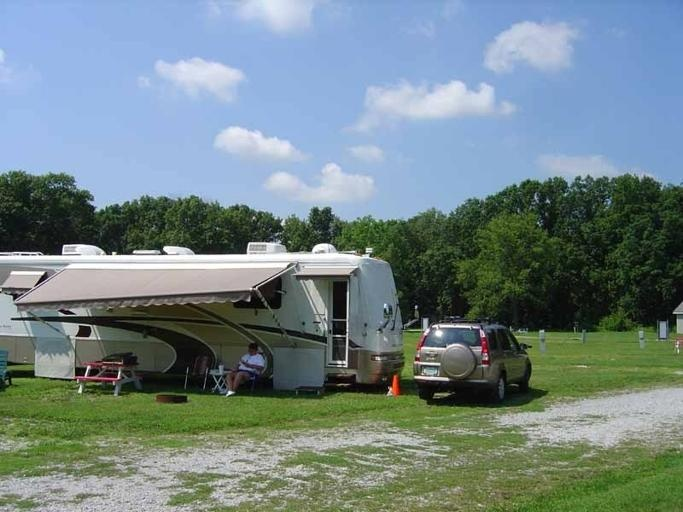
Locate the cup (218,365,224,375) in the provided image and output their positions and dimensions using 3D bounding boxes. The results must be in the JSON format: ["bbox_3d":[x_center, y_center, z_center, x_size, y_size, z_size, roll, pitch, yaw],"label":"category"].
[{"bbox_3d":[-3.135,2.963,22.390,0.109,0.243,0.368,0,-7,-10],"label":"cup"}]

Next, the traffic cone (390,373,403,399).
[{"bbox_3d":[1.397,3.365,22.335,0.427,0.516,0.382,-5,-6,42],"label":"traffic cone"}]

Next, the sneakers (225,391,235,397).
[{"bbox_3d":[-2.833,3.524,21.951,0.198,0.084,0.086,5,-8,-1],"label":"sneakers"}]

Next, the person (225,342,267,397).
[{"bbox_3d":[-2.481,2.941,22.508,0.549,1.348,1.271,-6,-9,36],"label":"person"}]

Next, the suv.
[{"bbox_3d":[3.557,2.605,21.626,1.652,1.192,2.825,-2,-1,33],"label":"suv"}]
